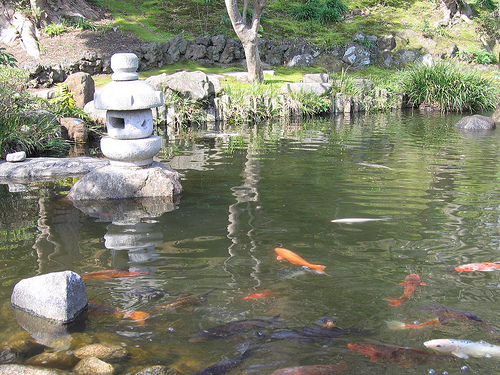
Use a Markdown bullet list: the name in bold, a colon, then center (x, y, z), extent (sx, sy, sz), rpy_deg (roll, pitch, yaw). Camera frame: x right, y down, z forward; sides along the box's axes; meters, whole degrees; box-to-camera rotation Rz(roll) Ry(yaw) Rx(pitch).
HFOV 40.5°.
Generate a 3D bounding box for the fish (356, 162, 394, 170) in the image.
- **fish**: center (2.692, -0.444, 14.316), extent (0.414, 0.083, 0.868), rpy_deg (-9, 13, -28)

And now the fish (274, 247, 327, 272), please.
- **fish**: center (0.759, 1.102, 10.330), extent (0.567, 0.133, 0.375), rpy_deg (21, 21, 32)

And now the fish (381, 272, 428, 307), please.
- **fish**: center (2.285, 1.484, 9.762), extent (0.370, 0.196, 0.537), rpy_deg (26, 51, 26)

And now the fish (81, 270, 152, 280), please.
- **fish**: center (-2.018, 1.305, 10.200), extent (0.985, 0.080, 0.233), rpy_deg (-4, 11, -7)
